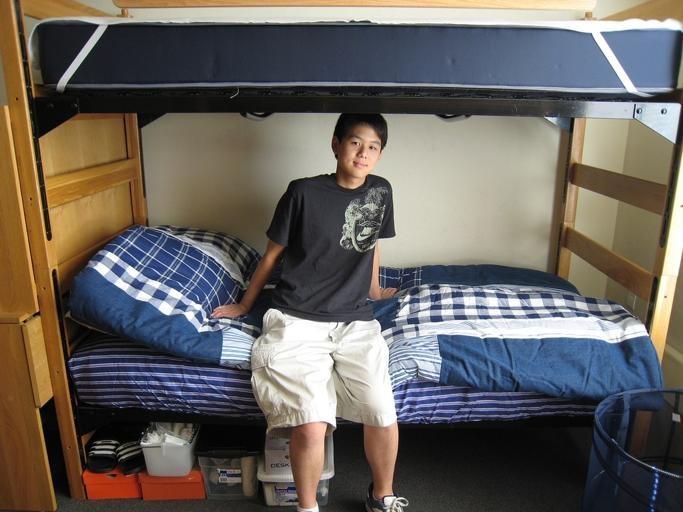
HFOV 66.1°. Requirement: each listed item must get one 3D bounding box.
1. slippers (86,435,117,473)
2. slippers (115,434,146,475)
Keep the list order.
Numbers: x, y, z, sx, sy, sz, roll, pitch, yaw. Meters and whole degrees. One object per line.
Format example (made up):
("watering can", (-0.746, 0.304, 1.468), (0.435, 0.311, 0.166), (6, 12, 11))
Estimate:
("slippers", (-1.017, 0.839, 2.239), (0.128, 0.075, 0.265), (4, 9, -22))
("slippers", (-0.893, 0.847, 2.221), (0.104, 0.060, 0.179), (-7, 29, -18))
